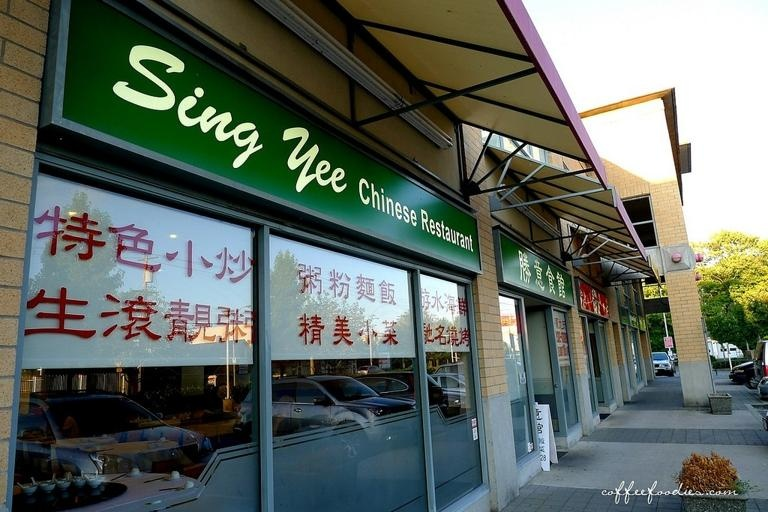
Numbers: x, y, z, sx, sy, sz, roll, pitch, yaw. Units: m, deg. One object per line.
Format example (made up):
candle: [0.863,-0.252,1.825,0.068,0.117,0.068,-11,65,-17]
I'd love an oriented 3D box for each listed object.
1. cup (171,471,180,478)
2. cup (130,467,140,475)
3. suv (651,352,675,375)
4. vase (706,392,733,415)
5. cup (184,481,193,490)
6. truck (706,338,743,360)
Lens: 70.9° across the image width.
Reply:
cup: [-1.459,1.499,3.710,0.050,0.037,0.044,0,-2,-21]
cup: [-1.668,1.428,3.569,0.048,0.046,0.049,0,-3,0]
suv: [17.673,6.875,34.000,1.394,1.263,3.220,-10,-25,27]
vase: [8.478,3.680,13.553,0.606,0.463,0.621,-2,-7,19]
cup: [-1.377,1.589,3.740,0.046,0.040,0.047,-1,-6,0]
truck: [23.364,6.217,36.708,1.728,1.385,5.695,-11,-14,31]
